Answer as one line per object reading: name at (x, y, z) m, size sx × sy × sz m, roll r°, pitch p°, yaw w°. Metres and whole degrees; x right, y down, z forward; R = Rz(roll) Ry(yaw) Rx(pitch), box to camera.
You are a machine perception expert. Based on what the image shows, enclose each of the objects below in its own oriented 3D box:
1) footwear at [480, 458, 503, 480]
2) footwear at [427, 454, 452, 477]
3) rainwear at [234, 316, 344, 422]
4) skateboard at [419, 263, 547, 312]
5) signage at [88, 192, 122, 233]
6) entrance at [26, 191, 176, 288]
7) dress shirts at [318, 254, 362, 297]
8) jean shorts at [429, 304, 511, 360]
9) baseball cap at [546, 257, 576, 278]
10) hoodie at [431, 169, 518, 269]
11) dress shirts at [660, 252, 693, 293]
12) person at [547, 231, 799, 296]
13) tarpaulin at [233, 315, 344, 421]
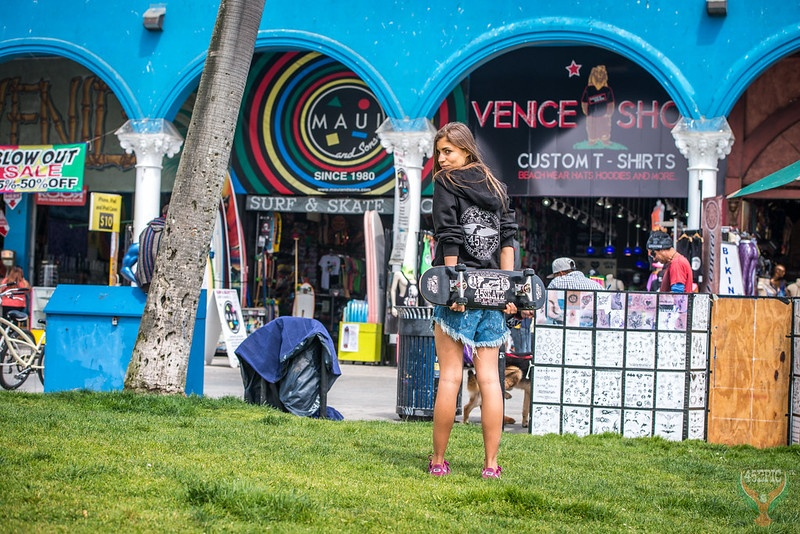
footwear at (1.097, 2.412, 13.306) m, size 0.239 × 0.195 × 0.190 m, roll 3°, pitch 9°, yaw 1°
footwear at (0.488, 2.370, 13.355) m, size 0.320 × 0.183 × 0.364 m, roll 0°, pitch 10°, yaw -19°
rainwear at (-1.686, 1.487, 16.619) m, size 1.408 × 1.468 × 1.076 m, roll 0°, pitch 0°, yaw 37°
skateboard at (0.994, 0.252, 13.198) m, size 1.531 × 0.645 × 0.340 m, roll 2°, pitch -3°, yaw -9°
signage at (-6.905, -1.278, 25.894) m, size 1.036 × 1.199 × 0.151 m, roll 3°, pitch -4°, yaw -44°
entrance at (-7.051, -0.696, 25.408) m, size 1.139 × 2.223 × 2.216 m, roll -1°, pitch -3°, yaw 26°
dress shirts at (-1.642, 0.255, 29.138) m, size 0.972 × 1.008 × 0.139 m, roll 2°, pitch -7°, yaw -30°
jean shorts at (0.911, 0.641, 13.493) m, size 0.834 × 0.510 × 0.590 m, roll 3°, pitch 13°, yaw -18°
baseball cap at (2.501, 0.024, 17.311) m, size 0.258 × 0.235 × 0.386 m, roll -15°, pitch 6°, yaw -38°
hoodie at (0.884, -0.541, 13.440) m, size 1.082 × 1.608 × 0.604 m, roll -5°, pitch 10°, yaw -17°
dress shirts at (4.464, 0.090, 17.875) m, size 0.431 × 0.727 × 0.935 m, roll -2°, pitch 26°, yaw 10°
person at (5.733, -0.056, 22.486) m, size 3.799 × 1.559 × 1.156 m, roll 3°, pitch -9°, yaw -23°
tarpaulin at (-1.697, 1.527, 16.609) m, size 1.463 × 1.530 × 1.388 m, roll 4°, pitch 5°, yaw 33°
